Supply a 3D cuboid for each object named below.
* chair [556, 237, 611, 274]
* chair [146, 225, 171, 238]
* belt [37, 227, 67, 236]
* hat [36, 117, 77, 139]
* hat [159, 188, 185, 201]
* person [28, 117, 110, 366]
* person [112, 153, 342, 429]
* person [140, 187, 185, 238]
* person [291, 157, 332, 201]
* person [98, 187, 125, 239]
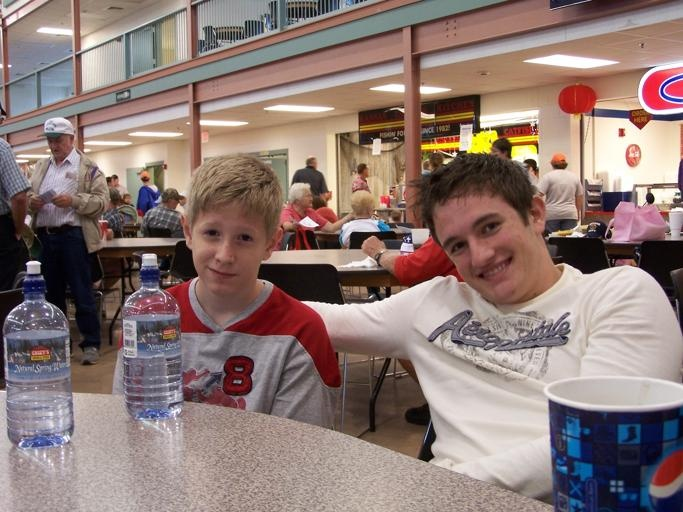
[{"bbox_3d":[1.885,-0.009,4.087,0.281,0.419,0.247,-12,11,-39],"label":"chair"},{"bbox_3d":[-2.578,-0.327,7.467,0.216,0.165,0.220,-1,6,-14],"label":"chair"},{"bbox_3d":[-2.498,-0.209,4.536,0.280,0.072,0.036,-3,6,14],"label":"belt"},{"bbox_3d":[-2.456,-1.109,4.594,0.210,0.204,0.404,-7,6,-27],"label":"hat"},{"bbox_3d":[-2.615,-0.929,8.183,0.351,0.184,0.241,-13,17,-36],"label":"hat"},{"bbox_3d":[-2.463,-0.169,4.618,0.666,1.973,0.573,7,11,10],"label":"person"},{"bbox_3d":[-0.285,0.128,1.363,0.547,0.709,0.372,9,6,13],"label":"person"},{"bbox_3d":[-2.485,-0.572,7.614,0.760,0.776,0.426,0,11,10],"label":"person"},{"bbox_3d":[-0.570,-1.452,10.021,0.683,0.399,1.481,-4,-20,-7],"label":"person"},{"bbox_3d":[-3.257,-0.510,7.488,0.277,0.895,0.284,2,23,-3],"label":"person"}]
